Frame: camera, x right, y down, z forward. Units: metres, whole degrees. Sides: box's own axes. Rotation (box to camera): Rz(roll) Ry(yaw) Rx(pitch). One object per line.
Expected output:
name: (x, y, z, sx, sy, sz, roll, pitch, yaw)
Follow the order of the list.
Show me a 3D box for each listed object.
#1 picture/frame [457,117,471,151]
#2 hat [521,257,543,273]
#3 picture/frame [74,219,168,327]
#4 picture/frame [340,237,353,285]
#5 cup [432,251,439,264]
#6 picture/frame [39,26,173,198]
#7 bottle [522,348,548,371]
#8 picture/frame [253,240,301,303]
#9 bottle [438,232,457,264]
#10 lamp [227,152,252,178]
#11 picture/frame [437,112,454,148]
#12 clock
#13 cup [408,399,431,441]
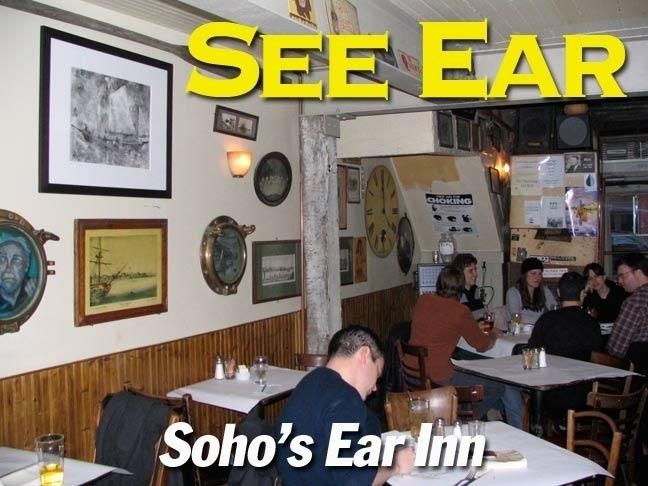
picture/frame: (1.848, -1.439, 6.709, 0.034, 0.370, 0.482, -5, -7, 29)
hat: (2.554, 0.273, 6.196, 0.199, 0.175, 0.214, -1, -6, 7)
picture/frame: (-1.578, 0.222, 3.844, 0.059, 0.810, 0.813, 0, 1, 33)
picture/frame: (0.283, 0.244, 6.687, 0.045, 0.719, 0.598, -1, -1, 25)
cup: (1.819, 0.229, 8.235, 0.122, 0.242, 0.068, 1, -2, -8)
picture/frame: (-1.652, -0.970, 3.737, 0.094, 1.340, 1.339, 4, 3, 33)
bottle: (1.820, 0.977, 4.381, 0.166, 0.181, 0.164, 2, 7, 24)
picture/frame: (-0.531, 0.300, 5.394, 0.030, 0.577, 0.658, -1, 1, 32)
bottle: (2.005, 0.112, 8.436, 0.372, 0.605, 0.389, 1, -5, 0)
lamp: (-0.821, -0.750, 4.914, 0.201, 0.206, 0.234, 0, -1, 14)
picture/frame: (1.469, -1.366, 6.083, 0.052, 0.430, 0.697, -2, 1, 28)
clock: (0.854, -0.463, 7.665, 0.070, 1.389, 1.297, -1, -4, 29)
cup: (0.580, 1.034, 2.983, 0.119, 0.224, 0.126, 4, -7, 1)
